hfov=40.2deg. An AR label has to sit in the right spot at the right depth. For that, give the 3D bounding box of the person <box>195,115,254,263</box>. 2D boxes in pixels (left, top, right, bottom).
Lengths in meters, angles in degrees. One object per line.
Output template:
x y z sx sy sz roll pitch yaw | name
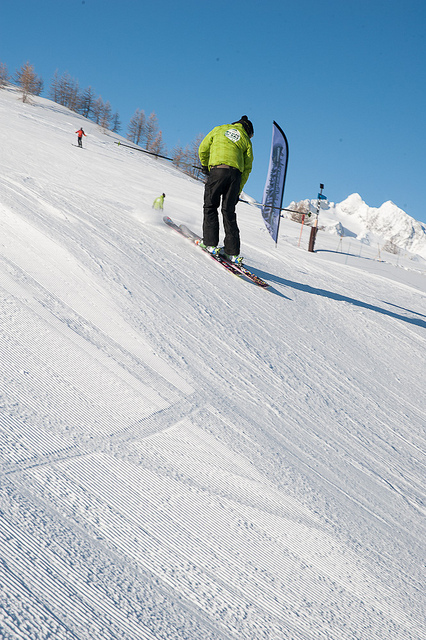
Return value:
0.101 -1.478 6.404 0.708 1.585 0.673 13 9 12 | person

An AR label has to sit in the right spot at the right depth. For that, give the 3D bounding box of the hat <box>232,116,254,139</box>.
0.339 -2.117 6.342 0.214 0.241 0.342 11 10 -2 | hat

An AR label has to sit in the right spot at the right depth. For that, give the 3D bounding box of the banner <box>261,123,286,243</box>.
0.967 -2.109 9.095 0.020 1.886 0.426 -14 29 -35 | banner

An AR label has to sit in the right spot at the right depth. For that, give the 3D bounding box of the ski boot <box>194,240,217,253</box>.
-0.079 -0.838 6.600 0.181 0.077 0.055 41 43 -17 | ski boot
